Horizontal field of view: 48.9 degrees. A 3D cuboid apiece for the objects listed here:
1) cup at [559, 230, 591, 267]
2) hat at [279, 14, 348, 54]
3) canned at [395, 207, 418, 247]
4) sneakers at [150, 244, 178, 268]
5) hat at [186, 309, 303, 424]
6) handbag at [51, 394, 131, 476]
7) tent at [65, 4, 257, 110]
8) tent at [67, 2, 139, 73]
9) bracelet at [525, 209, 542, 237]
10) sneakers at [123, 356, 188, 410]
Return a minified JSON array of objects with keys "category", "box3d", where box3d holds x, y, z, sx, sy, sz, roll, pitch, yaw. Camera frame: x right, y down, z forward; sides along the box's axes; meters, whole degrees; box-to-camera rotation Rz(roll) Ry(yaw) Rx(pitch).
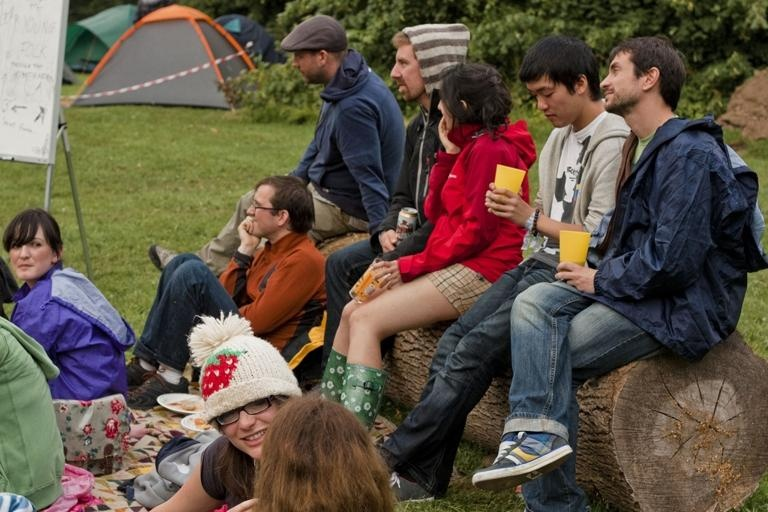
[{"category":"cup","box3d":[1.152,-0.038,5.069,0.188,0.229,0.192,4,-12,1]},{"category":"hat","box3d":[-0.609,-1.949,7.384,0.602,0.322,0.446,0,21,-11]},{"category":"canned","box3d":[0.170,-0.209,6.239,0.148,0.280,0.152,1,21,-21]},{"category":"sneakers","box3d":[-1.987,-0.002,7.596,0.235,0.104,0.089,36,31,3]},{"category":"hat","box3d":[-0.801,0.599,4.669,0.522,0.658,0.575,-16,-9,-20]},{"category":"handbag","box3d":[-1.881,1.167,5.622,0.377,0.473,0.499,1,11,7]},{"category":"tent","box3d":[-2.293,-2.022,9.166,1.229,0.668,1.312,-1,16,8]},{"category":"tent","box3d":[-2.879,-2.213,8.516,0.716,0.683,0.552,-1,10,-7]},{"category":"bracelet","box3d":[0.952,-0.206,5.365,0.052,0.119,0.141,5,42,-3]},{"category":"sneakers","box3d":[-1.697,1.015,6.588,0.608,0.269,0.228,20,11,-33]}]
